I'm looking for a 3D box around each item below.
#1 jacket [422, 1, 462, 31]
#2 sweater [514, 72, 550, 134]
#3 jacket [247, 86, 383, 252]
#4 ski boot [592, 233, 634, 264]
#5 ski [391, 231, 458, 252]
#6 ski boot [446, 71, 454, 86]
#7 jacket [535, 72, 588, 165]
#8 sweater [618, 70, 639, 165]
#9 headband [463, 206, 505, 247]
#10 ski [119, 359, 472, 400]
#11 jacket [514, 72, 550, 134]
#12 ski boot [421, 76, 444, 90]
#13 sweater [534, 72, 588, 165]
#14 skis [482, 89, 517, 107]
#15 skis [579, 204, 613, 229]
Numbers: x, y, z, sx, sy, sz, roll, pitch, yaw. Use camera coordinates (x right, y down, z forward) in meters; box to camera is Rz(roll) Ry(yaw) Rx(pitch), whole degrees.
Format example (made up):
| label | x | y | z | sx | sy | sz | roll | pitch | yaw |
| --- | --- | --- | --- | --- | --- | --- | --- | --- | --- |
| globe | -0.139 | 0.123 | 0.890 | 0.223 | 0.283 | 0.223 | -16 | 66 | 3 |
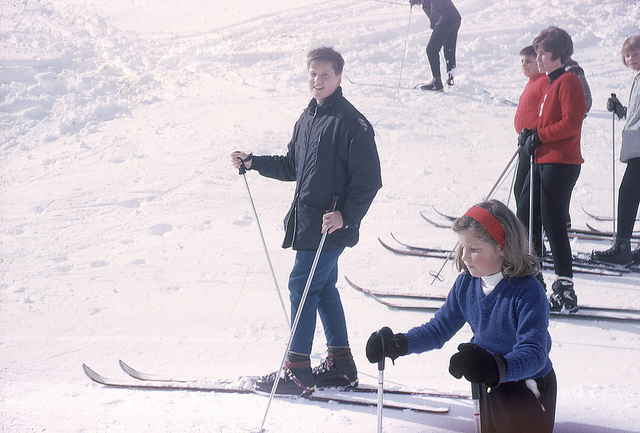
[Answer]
| label | x | y | z | sx | sy | sz | roll | pitch | yaw |
| --- | --- | --- | --- | --- | --- | --- | --- | --- | --- |
| jacket | 2.406 | -3.913 | 15.282 | 0.573 | 0.531 | 0.644 | -9 | 19 | -6 |
| sweater | 2.673 | -1.427 | 9.819 | 0.381 | 0.645 | 0.361 | 2 | -5 | 1 |
| jacket | 0.135 | -0.490 | 9.092 | 1.027 | 1.895 | 2.158 | 2 | -1 | 8 |
| ski boot | 3.852 | 0.427 | 10.201 | 0.508 | 0.375 | 0.111 | 0 | 22 | 19 |
| ski | 1.471 | 0.405 | 11.013 | 1.098 | 0.123 | 0.183 | 10 | 41 | 24 |
| ski boot | 2.708 | -2.801 | 16.095 | 0.169 | 0.239 | 0.092 | -1 | -9 | 13 |
| jacket | 2.908 | -1.150 | 9.418 | 0.589 | 1.072 | 0.422 | -1 | 21 | 17 |
| sweater | 4.041 | -1.245 | 10.102 | 0.263 | 1.082 | 0.204 | 4 | -10 | 3 |
| headband | 1.685 | 0.111 | 7.918 | 0.387 | 0.393 | 0.111 | 4 | 23 | 28 |
| ski | -0.788 | 1.859 | 8.800 | 3.119 | 0.234 | 0.236 | 2 | 2 | 11 |
| jacket | 2.664 | -1.415 | 9.812 | 0.385 | 0.654 | 0.366 | 2 | -5 | 1 |
| ski boot | 2.360 | -2.697 | 15.964 | 0.550 | 0.315 | 0.181 | 10 | 30 | 18 |
| sweater | 2.947 | -1.205 | 9.676 | 0.765 | 1.128 | 0.973 | -2 | 8 | -5 |
| skis | 3.613 | -2.333 | 15.658 | 0.067 | 0.092 | 0.842 | 7 | 22 | -44 |
| skis | 3.994 | 0.028 | 11.461 | 0.061 | 0.225 | 0.413 | -45 | 35 | -17 |
